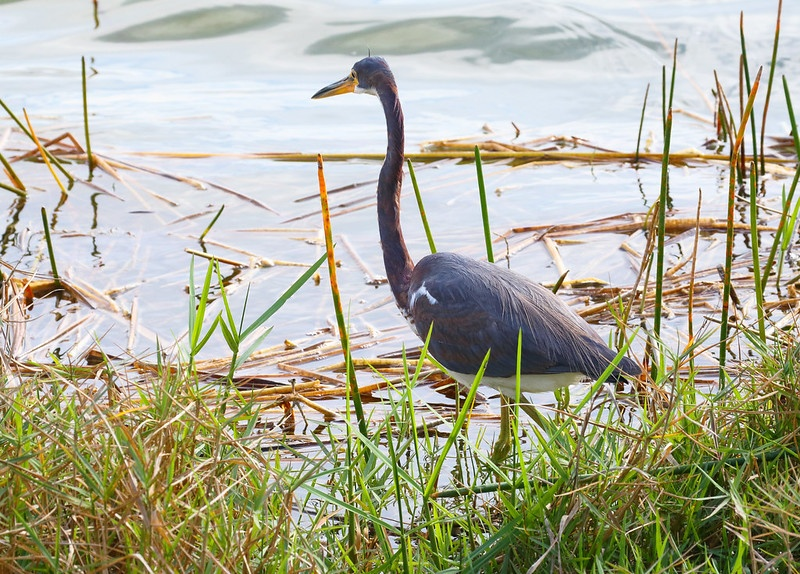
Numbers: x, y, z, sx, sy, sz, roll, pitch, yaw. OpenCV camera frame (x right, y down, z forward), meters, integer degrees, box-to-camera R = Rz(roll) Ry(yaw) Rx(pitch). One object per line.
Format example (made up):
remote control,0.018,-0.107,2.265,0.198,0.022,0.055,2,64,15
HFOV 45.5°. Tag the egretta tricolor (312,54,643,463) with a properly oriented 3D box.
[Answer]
egretta tricolor,0.349,-0.319,5.266,0.719,1.831,1.794,-15,18,-21
